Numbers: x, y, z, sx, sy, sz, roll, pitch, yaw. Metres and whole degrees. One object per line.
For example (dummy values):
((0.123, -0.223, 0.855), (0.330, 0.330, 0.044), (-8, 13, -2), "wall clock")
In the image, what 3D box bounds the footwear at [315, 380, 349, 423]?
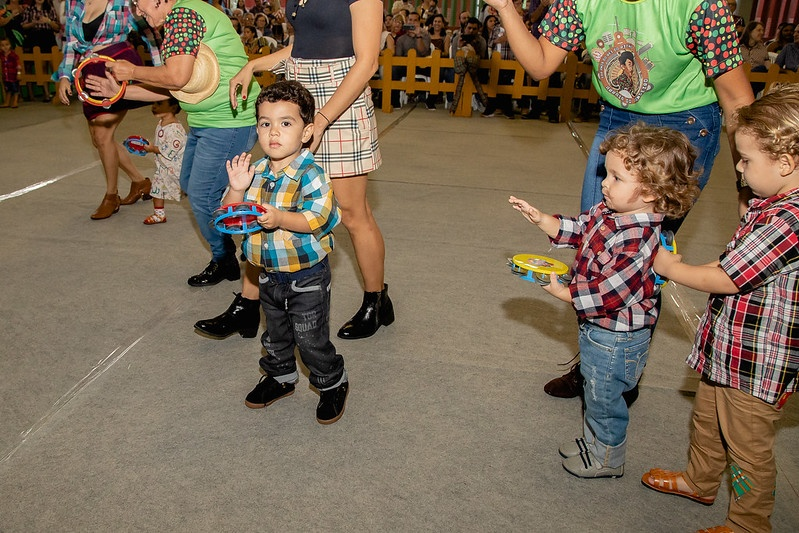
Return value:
((-0.364, 0.740, 3.034), (0.109, 0.110, 0.264), (6, 38, 12), "footwear")

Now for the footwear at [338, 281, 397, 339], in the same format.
((-0.238, 0.273, 3.798), (0.535, 0.297, 0.199), (-23, 34, -39), "footwear")

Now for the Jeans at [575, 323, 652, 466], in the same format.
((1.040, 0.642, 2.654), (0.331, 0.812, 0.389), (4, 32, 12), "Jeans")

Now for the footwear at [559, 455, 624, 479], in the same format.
((0.925, 0.991, 2.713), (0.320, 0.126, 0.114), (3, 21, 5), "footwear")

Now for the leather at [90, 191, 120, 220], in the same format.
((-2.933, -0.599, 5.451), (0.141, 0.170, 0.385), (11, 24, 12), "leather")

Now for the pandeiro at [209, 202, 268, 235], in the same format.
((-0.731, -0.216, 2.417), (0.176, 0.176, 0.043), (-5, 63, -5), "pandeiro")

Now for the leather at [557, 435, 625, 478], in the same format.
((0.954, 0.949, 2.699), (0.256, 0.090, 0.183), (1, 36, 5), "leather")

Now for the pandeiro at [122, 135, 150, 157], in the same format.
((-2.533, -1.146, 5.158), (0.216, 0.095, 0.265), (-4, 42, -37), "pandeiro")

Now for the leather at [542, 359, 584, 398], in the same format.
((0.922, 0.671, 3.220), (0.322, 0.132, 0.108), (6, 34, 16), "leather")

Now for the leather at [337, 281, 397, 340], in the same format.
((-0.204, 0.273, 3.790), (0.539, 0.299, 0.201), (-23, 34, -39), "leather")

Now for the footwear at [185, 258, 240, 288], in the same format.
((-1.437, 0.028, 4.349), (0.489, 0.212, 0.175), (-10, 27, -24), "footwear")

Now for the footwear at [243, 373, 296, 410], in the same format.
((-0.750, 0.721, 3.083), (0.338, 0.138, 0.128), (-16, 43, -36), "footwear")

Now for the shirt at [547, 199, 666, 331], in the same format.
((0.872, -0.039, 2.684), (0.558, 0.702, 0.614), (-3, 37, 5), "shirt")

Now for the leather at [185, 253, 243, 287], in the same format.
((-1.433, 0.017, 4.349), (0.498, 0.215, 0.179), (-9, 26, -22), "leather")

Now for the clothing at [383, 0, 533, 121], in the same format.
((1.011, -4.014, 11.403), (2.669, 1.158, 2.608), (0, 41, 3), "clothing")

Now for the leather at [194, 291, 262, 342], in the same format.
((-1.125, 0.335, 3.705), (0.535, 0.360, 0.213), (6, 15, -22), "leather")

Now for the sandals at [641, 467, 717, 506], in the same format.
((1.297, 1.043, 2.567), (0.313, 0.090, 0.128), (17, 23, 29), "sandals")
